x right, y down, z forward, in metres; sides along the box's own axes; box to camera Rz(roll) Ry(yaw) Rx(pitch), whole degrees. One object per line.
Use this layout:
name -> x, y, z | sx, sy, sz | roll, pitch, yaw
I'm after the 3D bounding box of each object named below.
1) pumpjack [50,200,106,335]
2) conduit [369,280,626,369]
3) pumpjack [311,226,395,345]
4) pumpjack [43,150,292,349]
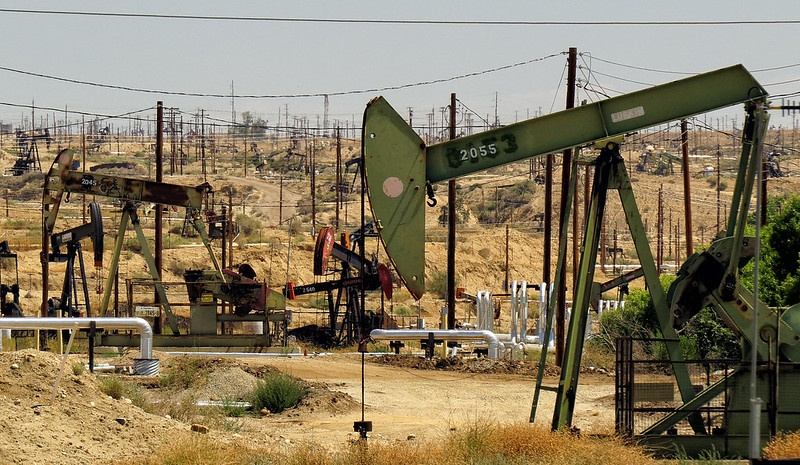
pumpjack -> -18.986, 1.863, 84.148 | 5.220, 6.231, 1.793 | -5, -5, 44
conduit -> 4.300, 5.793, 85.187 | 8.197, 5.375, 10.858 | -2, -2, -2
pumpjack -> -2.734, 3.503, 87.561 | 7.578, 8.319, 4.136 | -1, 2, 14
pumpjack -> -13.274, 1.099, 82.565 | 14.288, 10.542, 4.704 | 1, 8, -22
